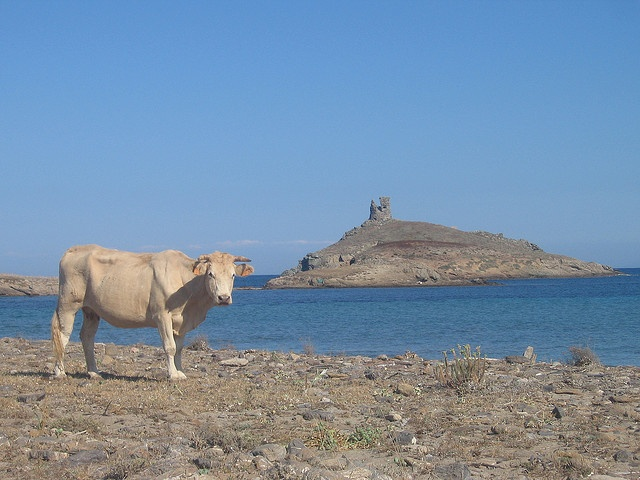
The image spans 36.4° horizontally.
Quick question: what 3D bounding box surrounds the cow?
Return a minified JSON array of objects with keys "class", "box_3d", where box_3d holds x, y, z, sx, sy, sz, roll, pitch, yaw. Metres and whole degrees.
[{"class":"cow","box_3d":[-3.831,1.763,22.848,5.985,2.889,1.527,-1,-4,31]}]
